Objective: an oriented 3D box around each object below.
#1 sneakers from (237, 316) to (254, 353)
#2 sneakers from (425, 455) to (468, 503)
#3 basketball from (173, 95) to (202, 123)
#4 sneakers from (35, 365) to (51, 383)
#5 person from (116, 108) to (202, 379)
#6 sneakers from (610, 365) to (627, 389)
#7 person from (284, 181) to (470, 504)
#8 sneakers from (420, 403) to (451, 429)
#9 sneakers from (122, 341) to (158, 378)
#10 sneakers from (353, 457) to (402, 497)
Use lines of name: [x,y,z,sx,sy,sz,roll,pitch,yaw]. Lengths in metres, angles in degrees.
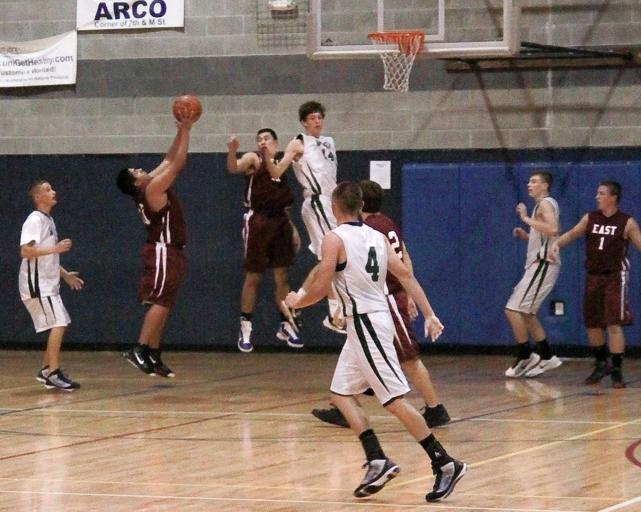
sneakers: [-0.744,0.775,8.169,0.152,0.250,0.421,2,16,-13]
sneakers: [0.679,1.198,4.430,0.131,0.189,0.224,9,15,37]
basketball: [-1.217,-1.350,7.487,0.267,0.185,0.258,2,10,-5]
sneakers: [-2.644,1.120,7.848,0.104,0.131,0.274,6,2,-2]
person: [-1.511,0.020,7.771,0.704,2.662,0.940,-3,13,-9]
sneakers: [2.793,1.121,7.631,0.091,0.103,0.251,-1,5,13]
person: [0.304,0.492,4.606,0.884,1.748,0.972,-6,13,-22]
sneakers: [0.867,1.153,5.996,0.283,0.188,0.102,-1,24,33]
sneakers: [-1.666,0.950,7.554,0.261,0.318,0.177,-4,13,-13]
sneakers: [0.307,1.206,4.443,0.229,0.194,0.136,2,13,11]
